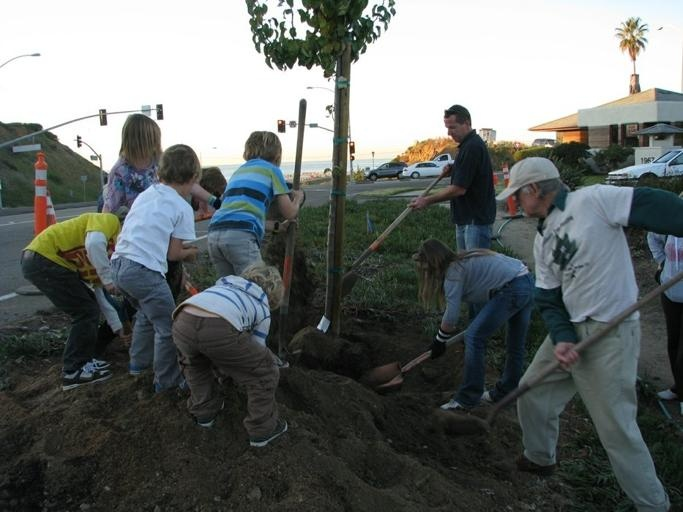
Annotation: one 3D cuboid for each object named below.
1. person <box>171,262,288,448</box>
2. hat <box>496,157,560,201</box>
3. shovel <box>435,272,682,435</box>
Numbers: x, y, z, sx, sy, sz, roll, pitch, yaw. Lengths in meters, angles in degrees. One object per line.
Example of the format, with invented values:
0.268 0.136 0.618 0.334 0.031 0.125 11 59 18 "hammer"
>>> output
-0.818 0.737 3.852 0.813 1.259 0.418 -3 8 -8 "person"
1.454 -0.609 4.059 0.403 0.226 0.273 -14 9 16 "hat"
1.872 0.879 4.617 1.755 0.544 0.370 -43 -1 27 "shovel"
